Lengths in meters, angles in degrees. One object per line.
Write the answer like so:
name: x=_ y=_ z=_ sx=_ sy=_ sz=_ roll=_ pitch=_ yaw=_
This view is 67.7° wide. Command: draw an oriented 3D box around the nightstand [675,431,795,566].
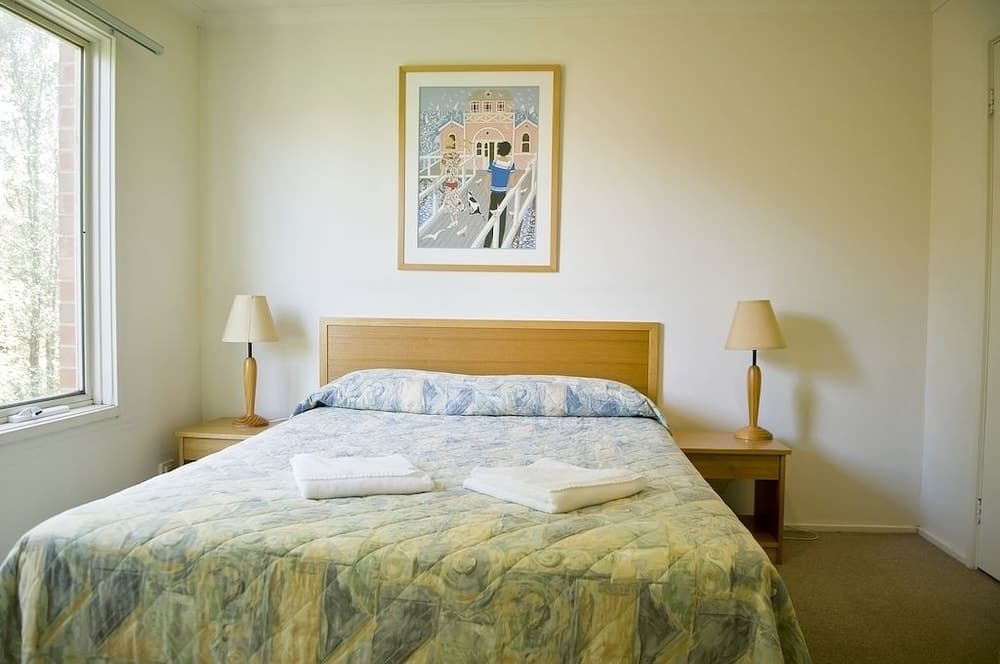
nightstand: x=1.425 y=0.887 z=4.599 sx=0.901 sy=0.833 sz=0.655 roll=0 pitch=1 yaw=7

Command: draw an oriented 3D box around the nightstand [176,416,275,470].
nightstand: x=-1.686 y=0.820 z=4.650 sx=0.471 sy=0.437 sz=0.359 roll=1 pitch=6 yaw=0
